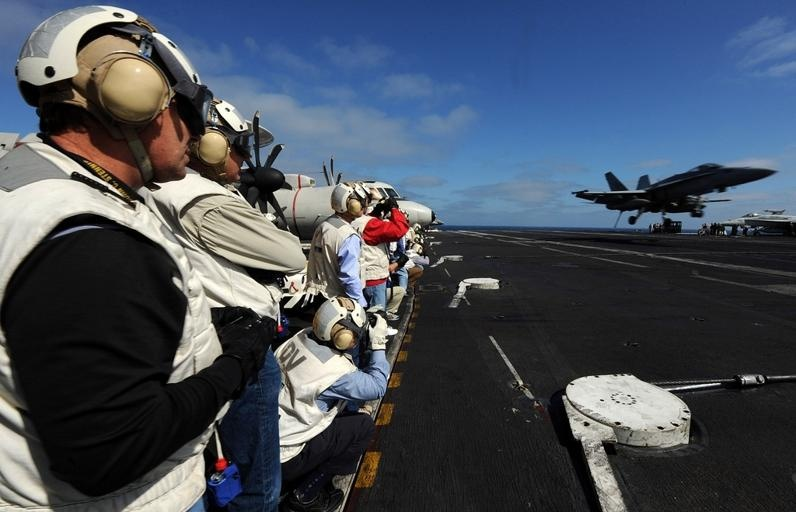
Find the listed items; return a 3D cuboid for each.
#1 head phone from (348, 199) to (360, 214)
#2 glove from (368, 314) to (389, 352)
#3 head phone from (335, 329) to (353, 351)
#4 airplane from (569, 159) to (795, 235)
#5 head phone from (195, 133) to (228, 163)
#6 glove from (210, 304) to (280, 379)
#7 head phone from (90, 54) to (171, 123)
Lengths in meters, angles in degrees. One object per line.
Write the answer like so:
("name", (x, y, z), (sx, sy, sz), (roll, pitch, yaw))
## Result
("head phone", (-0.527, -0.592, 5.981), (0.139, 0.156, 0.166), (24, -3, 1))
("glove", (-0.185, 0.704, 4.610), (0.174, 0.333, 0.367), (0, 12, -4))
("head phone", (-0.428, 0.659, 3.930), (0.177, 0.146, 0.127), (-10, 12, -35))
("airplane", (16.001, -3.377, 29.456), (2.788, 3.965, 12.301), (0, 11, -3))
("head phone", (-1.531, -0.885, 4.085), (0.281, 0.261, 0.280), (-5, 6, -22))
("glove", (-0.864, 0.453, 2.811), (0.377, 0.438, 0.213), (14, 4, 38))
("head phone", (-1.282, -0.776, 2.443), (0.346, 0.275, 0.303), (46, 30, 24))
